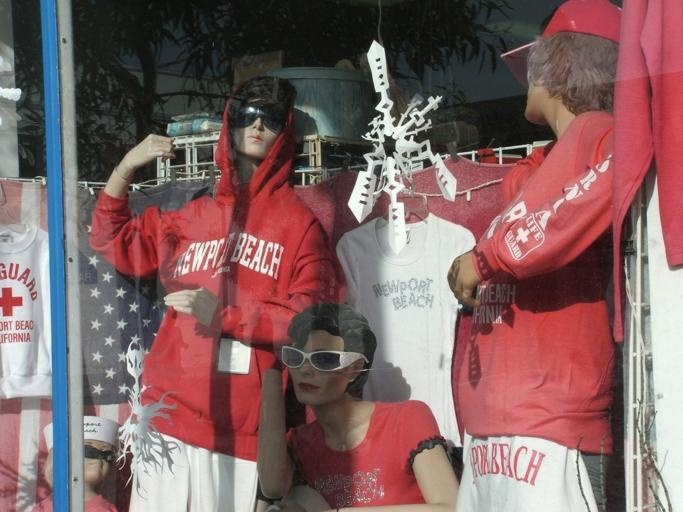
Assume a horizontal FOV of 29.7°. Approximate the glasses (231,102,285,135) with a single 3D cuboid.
[{"bbox_3d":[-0.247,-0.417,3.820,0.114,0.046,0.110,1,-11,-1],"label":"glasses"}]
